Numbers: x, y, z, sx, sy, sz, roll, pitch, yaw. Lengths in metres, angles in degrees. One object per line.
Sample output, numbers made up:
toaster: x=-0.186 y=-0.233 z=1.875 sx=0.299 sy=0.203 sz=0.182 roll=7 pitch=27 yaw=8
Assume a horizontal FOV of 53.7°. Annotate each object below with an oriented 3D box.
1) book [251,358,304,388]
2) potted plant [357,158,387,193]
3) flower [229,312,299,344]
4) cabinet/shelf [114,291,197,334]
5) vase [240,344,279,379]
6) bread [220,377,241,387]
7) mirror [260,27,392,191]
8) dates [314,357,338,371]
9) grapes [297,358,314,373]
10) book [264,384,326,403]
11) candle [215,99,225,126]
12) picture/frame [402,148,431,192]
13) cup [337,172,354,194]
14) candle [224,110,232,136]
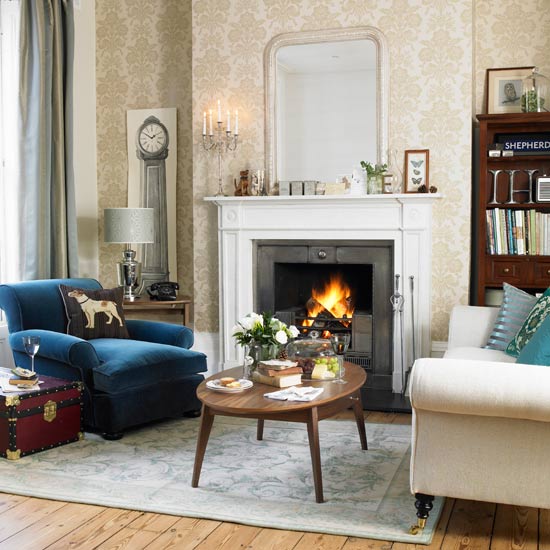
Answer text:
book: x=0.046 y=0.474 z=2.732 sx=0.147 sy=0.069 sz=0.162 roll=1 pitch=-1 yaw=-36
potted plant: x=0.791 y=-0.780 z=4.293 sx=0.283 sy=0.271 sz=0.237 roll=-1 pitch=3 yaw=-7
flower: x=-0.038 y=0.289 z=2.855 sx=0.236 sy=0.124 sz=0.220 roll=2 pitch=1 yaw=-18
cabinet/shelf: x=-1.049 y=0.269 z=4.849 sx=0.481 sy=0.394 sz=0.342 roll=-1 pitch=4 yaw=-20
vase: x=-0.093 y=0.445 z=2.846 sx=0.186 sy=0.180 sz=0.177 roll=1 pitch=-4 yaw=-10
bread: x=-0.215 y=0.511 z=2.621 sx=0.060 sy=0.024 sz=0.042 roll=3 pitch=-2 yaw=-35
mirror: x=0.407 y=-1.395 z=4.479 sx=1.054 sy=1.260 sz=0.049 roll=0 pitch=3 yaw=17
dates: x=0.280 y=0.460 z=2.846 sx=0.077 sy=0.026 sz=0.075 roll=4 pitch=5 yaw=22
grapes: x=0.166 y=0.470 z=2.857 sx=0.070 sy=0.050 sz=0.082 roll=4 pitch=0 yaw=-11
book: x=0.091 y=0.540 z=2.513 sx=0.246 sy=0.016 sz=0.283 roll=0 pitch=1 yaw=18
candle: x=-0.478 y=-1.427 z=4.733 sx=0.086 sy=0.215 sz=0.022 roll=0 pitch=3 yaw=16
picture/frame: x=1.107 y=-0.827 z=4.271 sx=0.202 sy=0.338 sz=0.050 roll=0 pitch=2 yaw=14
cup: x=0.597 y=-0.737 z=4.461 sx=0.163 sy=0.204 sz=0.221 roll=1 pitch=1 yaw=8
candle: x=-0.404 y=-1.349 z=4.719 sx=0.057 sy=0.170 sz=0.013 roll=0 pitch=3 yaw=22
